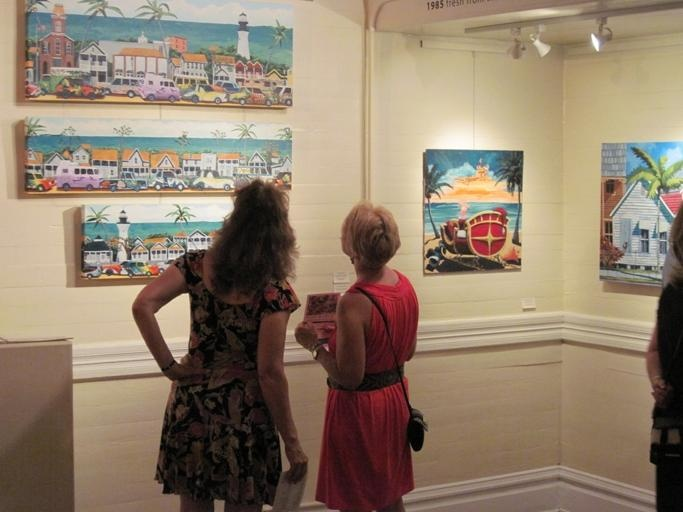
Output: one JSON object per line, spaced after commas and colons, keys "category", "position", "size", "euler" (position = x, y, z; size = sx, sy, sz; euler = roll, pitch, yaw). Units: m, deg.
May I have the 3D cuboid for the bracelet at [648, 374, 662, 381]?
{"category": "bracelet", "position": [1.627, 0.627, 2.780], "size": [0.029, 0.028, 0.029], "euler": [0, 1, -39]}

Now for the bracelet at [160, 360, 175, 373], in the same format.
{"category": "bracelet", "position": [-0.689, 0.442, 2.135], "size": [0.048, 0.047, 0.015], "euler": [-19, 51, -11]}

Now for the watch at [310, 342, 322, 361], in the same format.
{"category": "watch", "position": [-0.123, 0.455, 2.552], "size": [0.057, 0.086, 0.083], "euler": [24, -11, -5]}
